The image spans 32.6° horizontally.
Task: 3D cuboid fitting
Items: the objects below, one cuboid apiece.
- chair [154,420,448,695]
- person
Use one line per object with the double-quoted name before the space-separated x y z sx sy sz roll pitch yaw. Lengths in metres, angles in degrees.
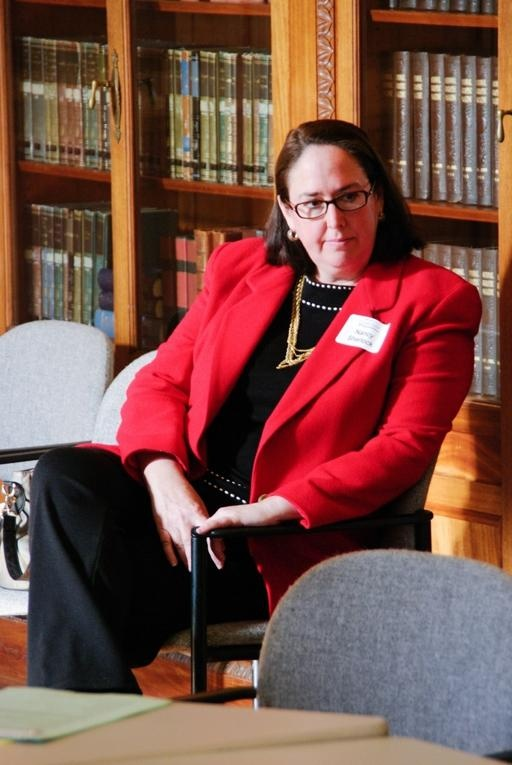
"chair" -0.017 0.307 1.687 0.513 0.627 0.386 2 -5 -20
"person" -0.033 0.139 1.725 0.821 1.199 0.618 -1 19 -15
